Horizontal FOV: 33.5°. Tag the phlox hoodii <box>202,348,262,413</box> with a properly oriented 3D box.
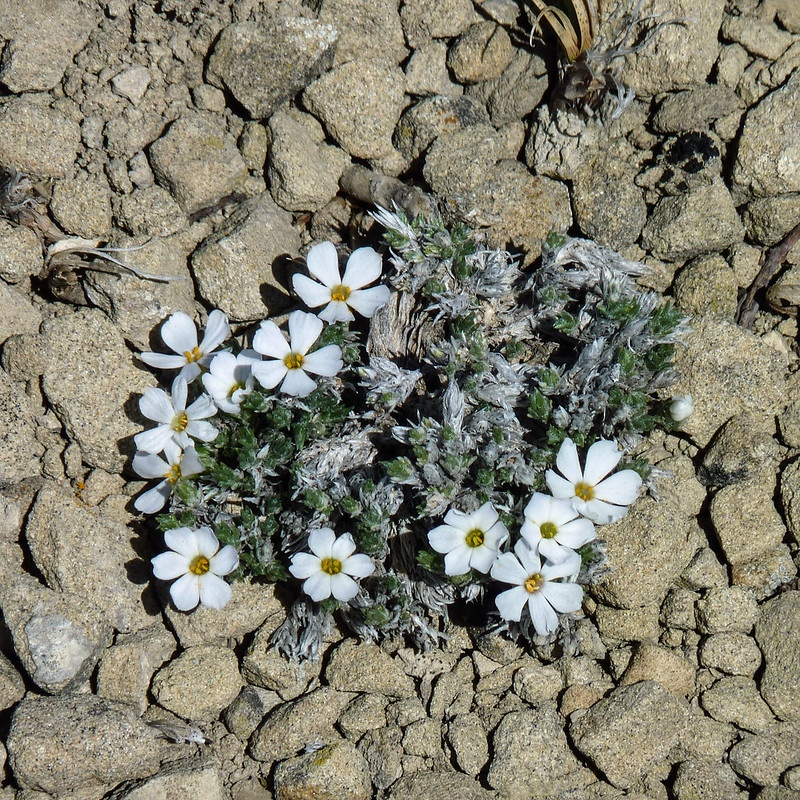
[{"bbox_3d":[-1.018,-0.151,7.953,0.305,0.396,0.176,24,-7,5],"label":"phlox hoodii"}]

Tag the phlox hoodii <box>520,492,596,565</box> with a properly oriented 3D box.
[{"bbox_3d":[0.842,0.719,7.496,0.313,0.179,0.433,-3,22,11],"label":"phlox hoodii"}]
